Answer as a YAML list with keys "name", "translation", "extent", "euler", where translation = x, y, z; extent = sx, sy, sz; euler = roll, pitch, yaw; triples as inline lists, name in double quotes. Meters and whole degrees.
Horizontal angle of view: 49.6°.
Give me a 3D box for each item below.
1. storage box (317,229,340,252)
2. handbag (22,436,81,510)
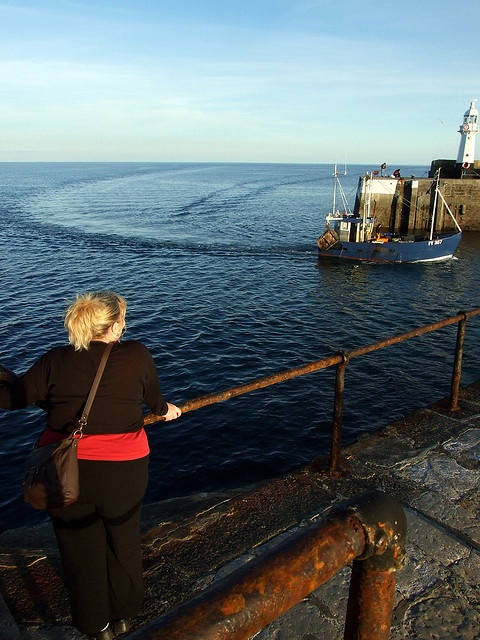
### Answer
- name: "storage box"
  translation: [5.889, -5.393, 34.897]
  extent: [1.661, 1.130, 1.103]
  euler: [-23, 18, -40]
- name: "handbag"
  translation: [-0.858, 0.705, 2.378]
  extent: [0.270, 0.358, 0.205]
  euler: [-3, 11, 6]
